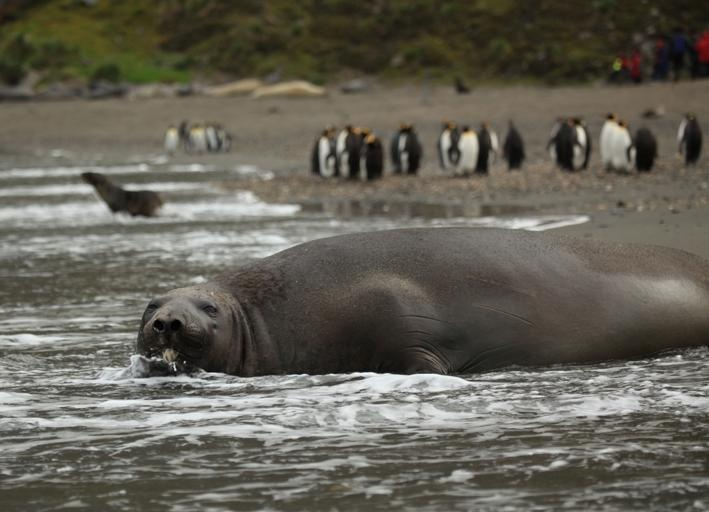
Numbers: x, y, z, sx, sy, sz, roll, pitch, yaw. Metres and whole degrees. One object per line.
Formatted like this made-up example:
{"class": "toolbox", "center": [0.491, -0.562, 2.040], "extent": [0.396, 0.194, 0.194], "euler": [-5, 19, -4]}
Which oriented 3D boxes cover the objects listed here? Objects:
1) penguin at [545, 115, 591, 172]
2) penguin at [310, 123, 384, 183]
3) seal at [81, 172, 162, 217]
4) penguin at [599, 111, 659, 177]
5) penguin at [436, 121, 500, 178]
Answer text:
{"class": "penguin", "center": [4.325, -2.183, 25.178], "extent": [0.860, 1.210, 0.726], "euler": [-11, 20, -22]}
{"class": "penguin", "center": [-0.227, -2.243, 27.736], "extent": [1.382, 1.073, 2.279], "euler": [-6, 10, -5]}
{"class": "seal", "center": [-3.968, -1.089, 22.104], "extent": [1.367, 0.753, 0.531], "euler": [2, 15, 30]}
{"class": "penguin", "center": [5.094, -2.092, 23.897], "extent": [1.395, 1.103, 0.857], "euler": [15, 16, 18]}
{"class": "penguin", "center": [2.281, -2.206, 26.363], "extent": [1.084, 0.997, 1.210], "euler": [-4, 12, 6]}
